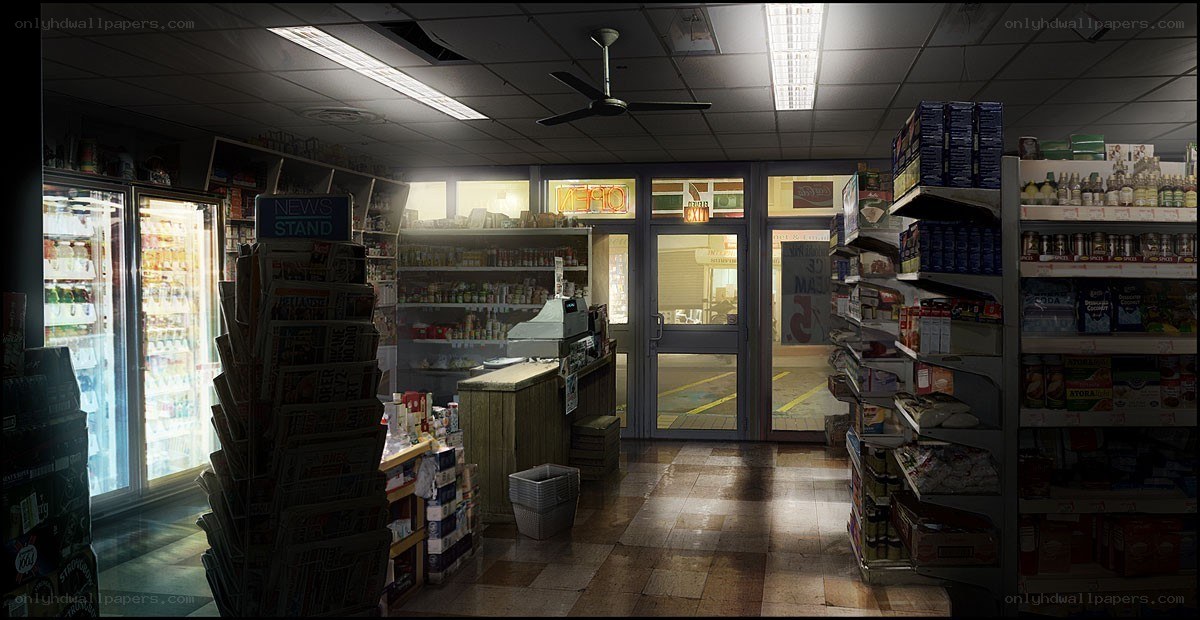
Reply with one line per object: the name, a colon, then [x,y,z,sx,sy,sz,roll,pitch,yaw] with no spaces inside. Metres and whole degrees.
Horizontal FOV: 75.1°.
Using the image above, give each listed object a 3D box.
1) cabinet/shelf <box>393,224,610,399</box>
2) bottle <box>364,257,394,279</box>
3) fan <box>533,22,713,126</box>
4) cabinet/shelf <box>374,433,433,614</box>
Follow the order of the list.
cabinet/shelf: [-1.293,-0.086,11.022,3.494,2.373,0.957,0,3,6]
bottle: [-3.125,-0.584,11.069,0.337,0.228,0.538,-1,0,7]
fan: [0.241,-2.305,7.776,1.234,0.383,1.057,-1,-5,-2]
cabinet/shelf: [-1.813,1.985,7.330,0.271,1.430,0.793,3,13,17]
